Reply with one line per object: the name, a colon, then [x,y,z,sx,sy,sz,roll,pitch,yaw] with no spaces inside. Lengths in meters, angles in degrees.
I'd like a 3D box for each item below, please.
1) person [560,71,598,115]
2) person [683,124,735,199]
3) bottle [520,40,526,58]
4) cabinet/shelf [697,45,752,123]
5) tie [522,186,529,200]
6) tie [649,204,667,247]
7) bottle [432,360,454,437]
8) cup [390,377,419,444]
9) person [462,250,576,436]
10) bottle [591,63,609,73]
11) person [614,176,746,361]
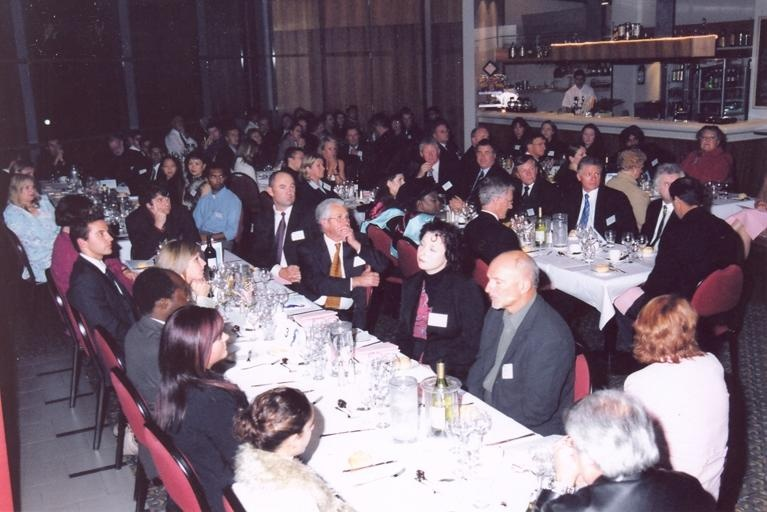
person: [3.644,-3.061,11.802,0.613,0.802,1.066,1,13,18]
person: [4.059,-1.194,7.916,0.516,0.896,0.678,-9,16,-16]
bottle: [2.547,-3.764,11.579,0.095,0.236,0.146,-5,12,-10]
cabinet/shelf: [5.865,-2.922,10.959,0.756,1.003,0.475,2,13,19]
tie: [1.605,-0.717,7.144,0.025,0.103,0.100,11,-6,-32]
tie: [2.576,-0.293,5.921,0.038,0.411,0.109,24,20,22]
bottle: [0.322,0.750,3.437,0.121,0.387,0.178,-1,12,9]
cup: [0.113,0.820,3.459,0.165,0.358,0.162,-3,12,1]
person: [0.858,0.516,4.005,0.428,1.073,0.680,-12,15,-37]
bottle: [4.267,-3.673,12.473,0.431,0.185,0.468,-2,12,1]
person: [2.391,-0.057,5.444,0.791,1.307,0.671,-17,39,-13]
